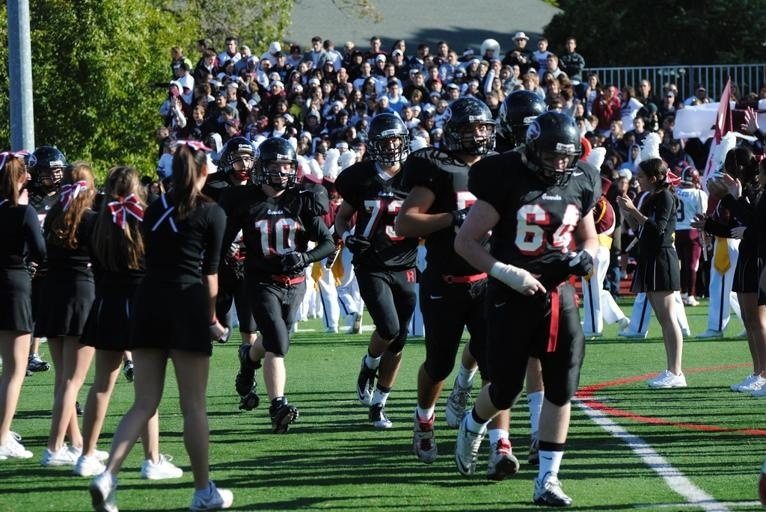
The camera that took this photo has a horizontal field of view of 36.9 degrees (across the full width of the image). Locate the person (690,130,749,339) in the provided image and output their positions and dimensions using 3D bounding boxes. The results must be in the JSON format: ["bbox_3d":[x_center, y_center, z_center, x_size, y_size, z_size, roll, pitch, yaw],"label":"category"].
[{"bbox_3d":[4.516,0.020,15.452,0.707,2.108,0.658,4,4,7],"label":"person"}]

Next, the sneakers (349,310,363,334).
[{"bbox_3d":[-0.367,0.968,16.300,0.121,0.337,0.138,5,2,-9],"label":"sneakers"}]

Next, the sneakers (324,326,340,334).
[{"bbox_3d":[-0.741,1.085,16.561,0.167,0.108,0.087,4,3,17],"label":"sneakers"}]

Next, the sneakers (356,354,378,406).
[{"bbox_3d":[-0.172,1.304,12.076,0.186,0.576,0.255,2,5,-25],"label":"sneakers"}]

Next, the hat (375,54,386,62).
[{"bbox_3d":[-0.025,-4.068,23.489,0.177,0.122,0.244,4,-2,-3],"label":"hat"}]

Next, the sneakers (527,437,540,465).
[{"bbox_3d":[1.419,1.834,10.735,0.096,0.271,0.128,6,4,5],"label":"sneakers"}]

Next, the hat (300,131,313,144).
[{"bbox_3d":[-1.380,-2.149,20.783,0.230,0.235,0.294,6,-15,-6],"label":"hat"}]

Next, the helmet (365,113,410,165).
[{"bbox_3d":[0.065,-1.101,11.944,0.473,0.529,0.639,0,-19,-5],"label":"helmet"}]

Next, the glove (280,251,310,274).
[{"bbox_3d":[-0.879,0.076,11.512,0.286,0.236,0.171,-11,15,-42],"label":"glove"}]

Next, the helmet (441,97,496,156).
[{"bbox_3d":[0.829,-1.227,10.917,0.478,0.493,0.624,-4,7,-22],"label":"helmet"}]

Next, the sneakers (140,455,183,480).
[{"bbox_3d":[-2.037,1.976,10.596,0.399,0.208,0.178,2,-1,-14],"label":"sneakers"}]

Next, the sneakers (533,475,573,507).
[{"bbox_3d":[1.454,2.053,9.944,0.378,0.247,0.197,2,3,30],"label":"sneakers"}]

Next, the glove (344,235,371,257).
[{"bbox_3d":[-0.250,-0.099,11.803,0.254,0.221,0.187,-1,11,-1],"label":"glove"}]

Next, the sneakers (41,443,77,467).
[{"bbox_3d":[-3.033,1.880,10.777,0.335,0.143,0.168,-4,8,-14],"label":"sneakers"}]

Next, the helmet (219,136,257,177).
[{"bbox_3d":[-1.533,-1.061,12.254,0.381,0.413,0.493,-5,8,-34],"label":"helmet"}]

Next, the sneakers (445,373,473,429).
[{"bbox_3d":[0.745,1.500,11.502,0.205,0.578,0.266,6,9,-14],"label":"sneakers"}]

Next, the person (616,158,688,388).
[{"bbox_3d":[3.011,0.188,13.087,0.880,2.604,0.839,1,-5,10],"label":"person"}]

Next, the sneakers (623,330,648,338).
[{"bbox_3d":[3.486,1.087,15.733,0.321,0.130,0.112,4,-3,7],"label":"sneakers"}]

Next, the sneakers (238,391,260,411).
[{"bbox_3d":[-1.379,1.520,11.806,0.124,0.138,0.307,3,-29,-25],"label":"sneakers"}]

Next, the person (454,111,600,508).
[{"bbox_3d":[1.312,0.463,10.007,1.180,3.359,0.829,-1,12,0],"label":"person"}]

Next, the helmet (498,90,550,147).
[{"bbox_3d":[1.247,-1.270,10.971,0.495,0.462,0.381,23,28,36],"label":"helmet"}]

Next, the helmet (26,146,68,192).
[{"bbox_3d":[-3.634,-0.948,12.357,0.385,0.461,0.467,-5,13,-12],"label":"helmet"}]

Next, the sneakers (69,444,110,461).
[{"bbox_3d":[-2.747,1.853,10.685,0.444,0.169,0.145,3,26,3],"label":"sneakers"}]

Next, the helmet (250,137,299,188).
[{"bbox_3d":[-1.036,-0.908,11.671,0.429,0.472,0.524,4,-4,4],"label":"helmet"}]

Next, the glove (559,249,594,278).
[{"bbox_3d":[1.701,0.073,9.971,0.194,0.146,0.253,13,8,-8],"label":"glove"}]

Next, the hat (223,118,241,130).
[{"bbox_3d":[-2.722,-2.403,20.896,0.232,0.189,0.419,4,12,21],"label":"hat"}]

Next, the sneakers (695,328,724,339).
[{"bbox_3d":[4.447,1.064,15.485,0.422,0.173,0.127,1,14,9],"label":"sneakers"}]

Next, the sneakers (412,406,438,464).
[{"bbox_3d":[0.394,1.711,10.849,0.188,0.507,0.235,-3,11,0],"label":"sneakers"}]

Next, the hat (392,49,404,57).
[{"bbox_3d":[0.319,-4.169,23.479,0.243,0.158,0.310,0,4,-1],"label":"hat"}]

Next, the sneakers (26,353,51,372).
[{"bbox_3d":[-4.070,1.322,13.754,0.361,0.171,0.140,2,3,18],"label":"sneakers"}]

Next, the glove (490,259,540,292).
[{"bbox_3d":[1.150,0.176,9.875,0.405,0.212,0.170,25,26,7],"label":"glove"}]

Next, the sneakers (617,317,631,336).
[{"bbox_3d":[3.330,0.977,15.765,0.131,0.299,0.110,12,37,5],"label":"sneakers"}]

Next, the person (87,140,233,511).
[{"bbox_3d":[-1.880,0.624,9.898,1.193,3.146,0.867,-5,12,-21],"label":"person"}]
